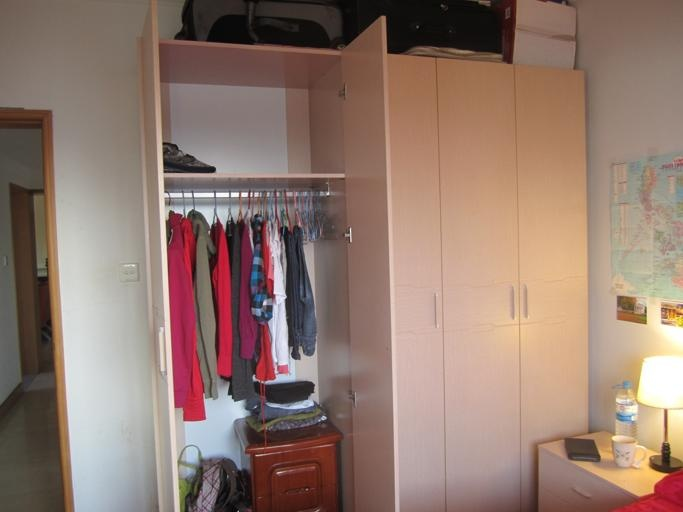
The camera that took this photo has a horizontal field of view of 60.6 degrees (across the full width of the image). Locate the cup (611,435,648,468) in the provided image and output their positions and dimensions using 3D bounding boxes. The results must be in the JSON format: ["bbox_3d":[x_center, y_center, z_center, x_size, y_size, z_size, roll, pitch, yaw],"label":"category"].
[{"bbox_3d":[1.628,1.112,3.349,0.125,0.156,0.195,-4,5,-32],"label":"cup"}]

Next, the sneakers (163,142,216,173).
[{"bbox_3d":[-0.947,-0.584,3.495,0.416,0.181,0.144,2,12,-27],"label":"sneakers"}]
